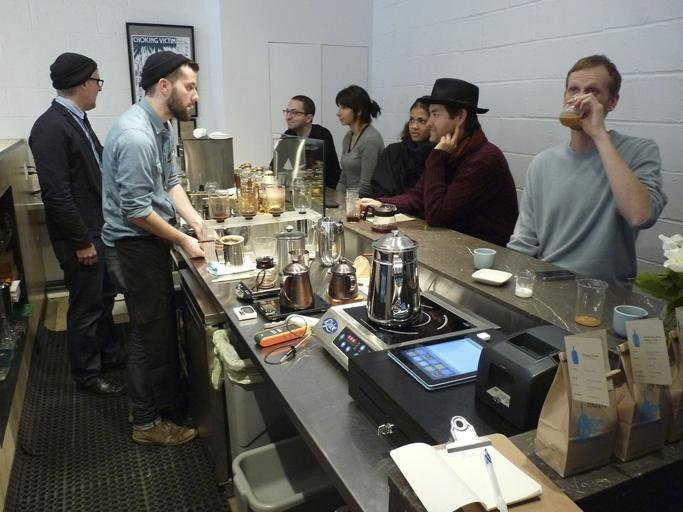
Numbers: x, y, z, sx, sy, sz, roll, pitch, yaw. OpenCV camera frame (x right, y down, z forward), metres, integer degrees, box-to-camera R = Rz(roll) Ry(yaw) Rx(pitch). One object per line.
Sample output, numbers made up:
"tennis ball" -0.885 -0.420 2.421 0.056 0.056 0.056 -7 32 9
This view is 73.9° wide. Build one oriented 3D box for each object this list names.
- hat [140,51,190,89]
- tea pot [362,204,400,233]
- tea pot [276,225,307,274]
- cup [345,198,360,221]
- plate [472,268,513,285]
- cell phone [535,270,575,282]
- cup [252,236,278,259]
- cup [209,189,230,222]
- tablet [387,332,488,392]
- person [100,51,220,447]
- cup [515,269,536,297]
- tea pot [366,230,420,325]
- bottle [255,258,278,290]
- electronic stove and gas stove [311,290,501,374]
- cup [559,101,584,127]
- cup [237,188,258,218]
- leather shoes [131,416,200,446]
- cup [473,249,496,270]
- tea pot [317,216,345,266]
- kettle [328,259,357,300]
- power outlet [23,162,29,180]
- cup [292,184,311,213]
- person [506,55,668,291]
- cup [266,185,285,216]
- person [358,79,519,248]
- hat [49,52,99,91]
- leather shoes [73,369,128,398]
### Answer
"hat" -0.931 -0.976 2.403 0.252 0.188 0.131 -8 19 -14
"tea pot" 0.258 -0.220 2.721 0.171 0.152 0.177 -1 18 0
"tea pot" -0.264 -0.023 2.277 0.196 0.236 0.136 7 -10 -40
"cup" 0.070 -0.298 2.866 0.076 0.155 0.059 -7 18 -13
"plate" 0.665 0.083 2.002 0.154 0.046 0.175 8 21 30
"cell phone" 0.941 0.083 2.014 0.180 0.025 0.098 -7 19 -13
"cup" -0.385 -0.040 2.298 0.121 0.100 0.114 -3 18 1
"cup" -0.693 -0.287 2.575 0.116 0.191 0.114 1 17 0
"tablet" 0.336 0.314 1.401 0.346 0.056 0.189 -11 20 -23
"person" -1.033 -0.002 2.568 0.655 2.124 0.493 -16 22 -35
"cup" 0.744 0.110 1.846 0.075 0.096 0.098 5 20 21
"tea pot" 0.181 0.076 1.591 0.186 0.296 0.171 -2 18 1
"bottle" -0.363 0.091 2.142 0.101 0.144 0.162 -3 12 -10
"electronic stove and gas stove" 0.207 0.306 1.766 0.539 0.169 0.692 18 9 20
"cup" 1.085 -0.674 2.200 0.117 0.121 0.120 -3 13 1
"cup" -0.532 -0.311 2.593 0.112 0.163 0.189 -6 19 -10
"leather shoes" -1.031 1.023 2.714 0.395 0.187 0.153 0 14 -15
"cup" 0.669 0.011 2.137 0.083 0.076 0.105 -2 16 0
"tea pot" -0.060 -0.065 2.385 0.159 0.239 0.215 -2 2 7
"kettle" -0.020 0.098 2.038 0.114 0.145 0.163 -4 30 -11
"power outlet" -2.839 -0.775 4.100 0.031 0.126 0.113 7 -9 -31
"cup" -0.228 -0.339 2.644 0.102 0.164 0.118 -5 18 -8
"person" 1.231 -0.445 2.340 0.629 1.128 0.793 -1 4 -33
"cup" -0.373 -0.317 2.566 0.107 0.173 0.056 -5 18 -6
"person" 0.656 -0.596 3.133 1.069 1.123 0.792 4 22 21
"hat" -1.774 -1.227 3.009 0.291 0.182 0.249 -33 36 -25
"leather shoes" -1.688 0.863 3.107 0.403 0.165 0.150 0 22 -8
